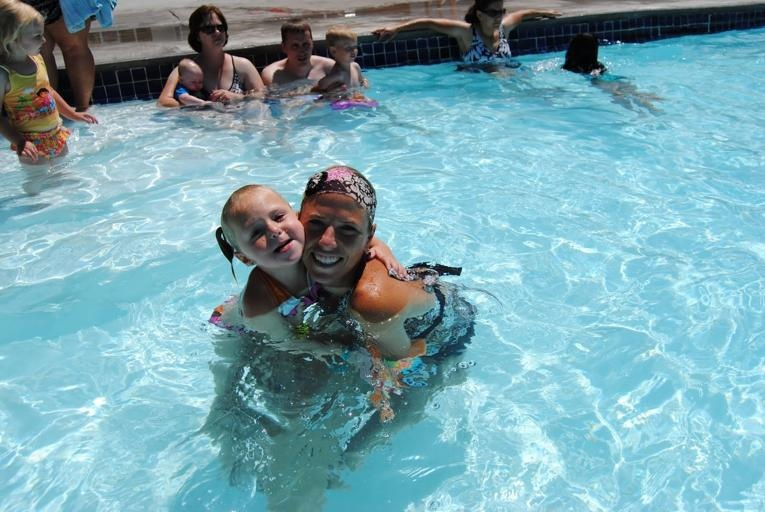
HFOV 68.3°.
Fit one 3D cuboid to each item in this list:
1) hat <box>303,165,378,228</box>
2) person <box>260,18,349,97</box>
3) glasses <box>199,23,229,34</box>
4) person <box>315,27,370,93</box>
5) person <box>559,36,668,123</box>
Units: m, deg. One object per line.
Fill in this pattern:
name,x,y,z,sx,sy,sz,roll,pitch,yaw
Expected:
hat,-0.182,-0.398,3.319,0.493,0.269,0.425,-9,14,-13
person,-1.116,-2.697,7.498,1.218,0.686,0.522,-14,32,-26
glasses,-2.056,-2.829,6.951,0.150,0.122,0.333,17,29,39
person,-0.566,-2.527,7.212,0.471,0.780,0.781,7,27,22
person,2.985,-2.338,7.647,1.786,0.668,0.769,35,63,27
